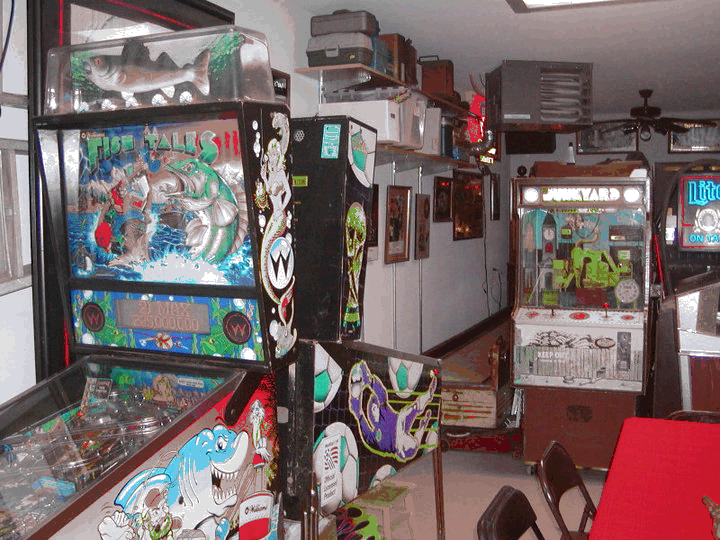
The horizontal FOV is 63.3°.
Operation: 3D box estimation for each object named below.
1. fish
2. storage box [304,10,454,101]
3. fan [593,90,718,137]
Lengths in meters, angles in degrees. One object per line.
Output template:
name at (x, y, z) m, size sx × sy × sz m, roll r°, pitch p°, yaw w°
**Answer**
fish at (-0.643, -0.616, 1.775) m, size 0.427 × 0.177 × 0.011 m, roll 3°, pitch 7°, yaw 16°
storage box at (0.131, -1.537, 4.148) m, size 0.522 × 0.482 × 1.226 m, roll 4°, pitch 9°, yaw 27°
fan at (3.782, -1.999, 7.354) m, size 0.805 × 0.331 × 0.863 m, roll 2°, pitch 11°, yaw 34°
